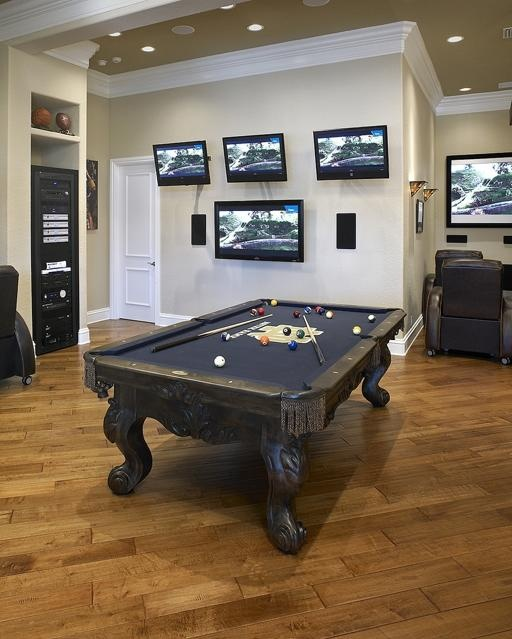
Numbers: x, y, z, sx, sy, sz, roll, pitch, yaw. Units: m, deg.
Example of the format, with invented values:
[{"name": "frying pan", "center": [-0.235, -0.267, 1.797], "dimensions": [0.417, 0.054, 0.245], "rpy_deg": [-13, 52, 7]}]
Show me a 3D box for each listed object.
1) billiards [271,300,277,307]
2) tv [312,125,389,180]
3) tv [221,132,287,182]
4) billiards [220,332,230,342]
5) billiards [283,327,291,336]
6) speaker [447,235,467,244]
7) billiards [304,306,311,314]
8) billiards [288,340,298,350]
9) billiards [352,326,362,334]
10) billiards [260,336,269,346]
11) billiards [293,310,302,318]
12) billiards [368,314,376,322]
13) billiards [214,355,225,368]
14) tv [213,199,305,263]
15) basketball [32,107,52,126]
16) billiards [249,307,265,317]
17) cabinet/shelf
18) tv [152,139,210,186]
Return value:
[{"name": "billiards", "center": [0.145, -0.129, 3.948], "dimensions": [0.052, 0.059, 0.050], "rpy_deg": [1, 17, 1]}, {"name": "tv", "center": [0.954, -1.673, 4.997], "dimensions": [0.748, 0.484, 0.178], "rpy_deg": [4, 8, 30]}, {"name": "tv", "center": [-0.018, -1.792, 5.521], "dimensions": [0.746, 0.497, 0.249], "rpy_deg": [4, 8, 27]}, {"name": "billiards", "center": [-0.166, 0.093, 2.731], "dimensions": [0.049, 0.035, 0.048], "rpy_deg": [7, 13, 12]}, {"name": "billiards", "center": [0.181, 0.070, 2.873], "dimensions": [0.039, 0.047, 0.043], "rpy_deg": [-2, 0, 2]}, {"name": "speaker", "center": [3.177, -1.268, 7.815], "dimensions": [0.266, 0.135, 0.063], "rpy_deg": [-1, 6, 26]}, {"name": "billiards", "center": [0.382, -0.072, 3.644], "dimensions": [0.048, 0.027, 0.046], "rpy_deg": [17, 29, 39]}, {"name": "billiards", "center": [0.183, 0.130, 2.512], "dimensions": [0.038, 0.044, 0.043], "rpy_deg": [8, 22, 23]}, {"name": "billiards", "center": [0.575, 0.060, 2.815], "dimensions": [0.045, 0.032, 0.044], "rpy_deg": [-3, 3, -41]}, {"name": "billiards", "center": [0.039, 0.116, 2.624], "dimensions": [0.043, 0.048, 0.042], "rpy_deg": [-12, 10, -32]}, {"name": "billiards", "center": [0.293, -0.031, 3.487], "dimensions": [0.044, 0.045, 0.053], "rpy_deg": [10, 28, 12]}, {"name": "billiards", "center": [0.764, -0.007, 3.245], "dimensions": [0.045, 0.036, 0.051], "rpy_deg": [-5, 10, 3]}, {"name": "billiards", "center": [-0.159, 0.187, 2.195], "dimensions": [0.044, 0.043, 0.024], "rpy_deg": [-31, -23, 16]}, {"name": "tv", "center": [0.006, -1.017, 5.661], "dimensions": [1.166, 0.687, 0.105], "rpy_deg": [4, 8, 30]}, {"name": "basketball", "center": [-2.172, -2.023, 5.004], "dimensions": [0.208, 0.154, 0.223], "rpy_deg": [-1, 15, -19]}, {"name": "billiards", "center": [0.013, -0.058, 3.546], "dimensions": [0.075, 0.030, 0.073], "rpy_deg": [-1, 16, 3]}, {"name": "cabinet/shelf", "center": [-2.067, -0.616, 5.097], "dimensions": [0.524, 1.689, 0.558], "rpy_deg": [4, 10, 25]}, {"name": "tv", "center": [-0.921, -1.891, 6.010], "dimensions": [0.776, 0.491, 0.182], "rpy_deg": [4, 8, 27]}]
